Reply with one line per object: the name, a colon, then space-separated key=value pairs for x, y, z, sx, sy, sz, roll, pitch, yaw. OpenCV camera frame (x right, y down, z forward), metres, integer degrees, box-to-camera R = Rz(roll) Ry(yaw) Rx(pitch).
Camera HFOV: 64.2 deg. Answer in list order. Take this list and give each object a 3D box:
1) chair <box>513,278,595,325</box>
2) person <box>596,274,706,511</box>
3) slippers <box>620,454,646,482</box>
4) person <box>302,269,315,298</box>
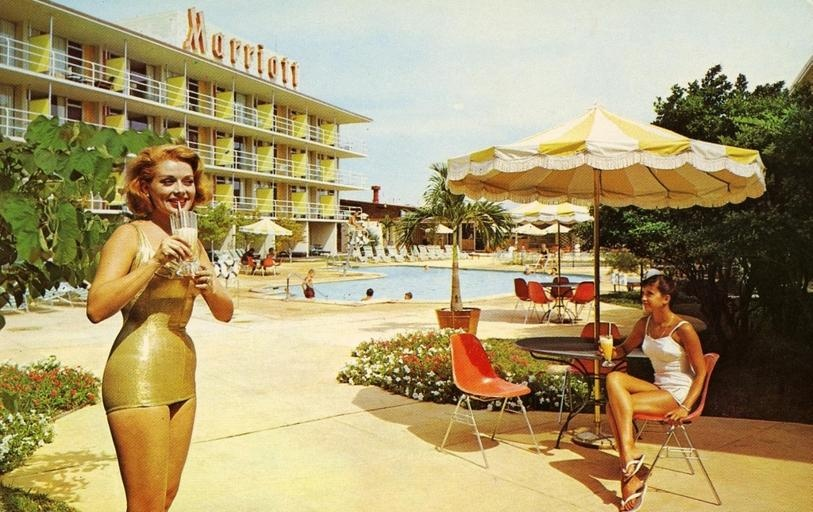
chair: x=3.707 y=1.075 z=16.246 sx=1.437 sy=0.712 sz=1.503 roll=0 pitch=0 yaw=44
person: x=2.779 y=1.511 z=7.563 sx=1.119 sy=2.871 sz=0.870 roll=0 pitch=0 yaw=-36
slippers: x=2.517 y=2.360 z=7.216 sx=0.099 sy=0.345 sz=0.159 roll=14 pitch=18 yaw=-45
person: x=-3.131 y=0.875 z=20.695 sx=0.270 sy=0.846 sz=1.193 roll=-1 pitch=-1 yaw=-12
